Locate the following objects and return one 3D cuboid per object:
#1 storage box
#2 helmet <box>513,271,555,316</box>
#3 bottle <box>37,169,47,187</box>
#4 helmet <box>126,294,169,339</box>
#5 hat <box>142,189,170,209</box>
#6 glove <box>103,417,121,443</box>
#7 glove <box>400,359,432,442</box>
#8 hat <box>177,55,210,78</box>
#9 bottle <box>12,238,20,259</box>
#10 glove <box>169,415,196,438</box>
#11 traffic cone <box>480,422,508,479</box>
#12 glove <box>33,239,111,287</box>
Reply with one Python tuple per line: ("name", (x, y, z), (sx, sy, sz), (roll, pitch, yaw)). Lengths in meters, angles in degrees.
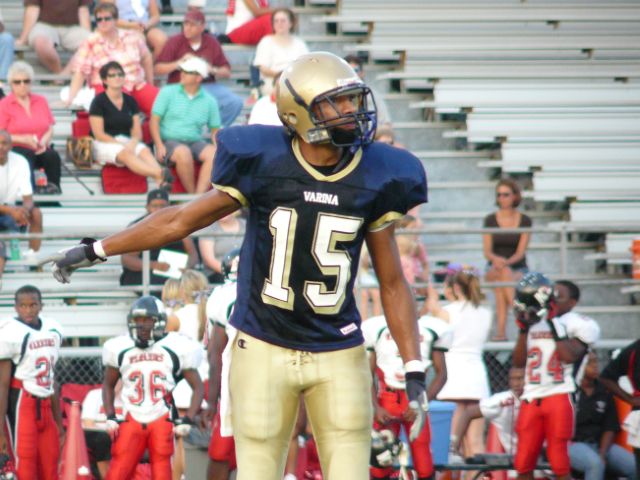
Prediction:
("storage box", (1.037, 1.841, 17.463), (0.563, 0.589, 0.962), (1, -46, 7))
("helmet", (1.971, 0.505, 16.717), (0.419, 0.390, 0.324), (-16, 26, -19))
("bottle", (-2.915, -0.671, 18.869), (0.133, 0.142, 0.107), (2, 1, -10))
("helmet", (-1.553, 0.704, 16.679), (0.313, 0.422, 0.425), (-1, -15, -1))
("hat", (-1.643, -0.446, 18.191), (0.177, 0.212, 0.226), (7, -30, -9))
("glove", (-1.916, 1.761, 16.622), (0.076, 0.207, 0.149), (6, 3, -9))
("glove", (0.781, 1.308, 14.518), (0.203, 0.564, 0.250), (2, 1, -3))
("hat", (-1.306, -1.839, 19.168), (0.307, 0.156, 0.233), (34, -4, -38))
("bottle", (-3.077, 0.087, 18.133), (0.114, 0.149, 0.105), (2, 1, 0))
("glove", (-1.284, 1.756, 16.727), (0.157, 0.140, 0.208), (3, -14, -15))
("traffic cone", (1.758, 2.084, 17.320), (0.335, 0.429, 0.393), (-4, -16, 4))
("glove", (-1.978, 0.143, 14.501), (0.459, 0.301, 0.213), (-38, -17, 13))
